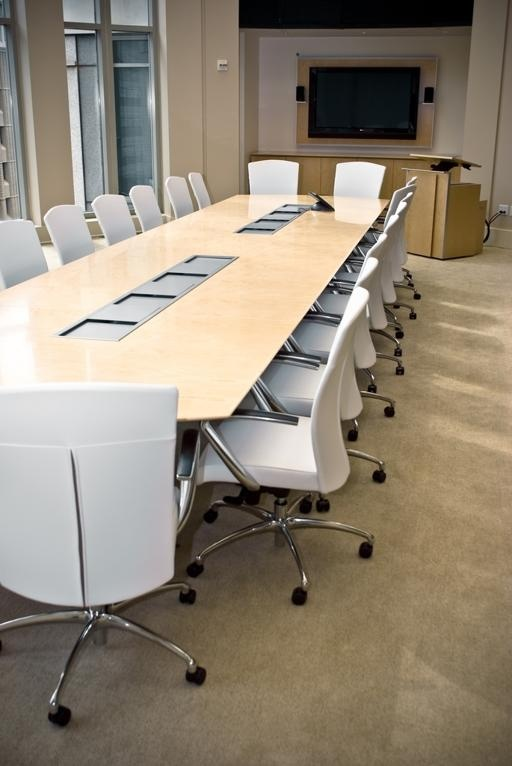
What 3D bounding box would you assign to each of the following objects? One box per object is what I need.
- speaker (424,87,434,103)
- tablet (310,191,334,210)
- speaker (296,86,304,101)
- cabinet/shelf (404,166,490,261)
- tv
[{"bbox_3d":[2.886,-4.787,9.219,0.165,0.255,0.084,2,12,12],"label":"speaker"},{"bbox_3d":[0.592,-1.656,5.118,0.239,0.107,0.195,23,41,32],"label":"tablet"},{"bbox_3d":[0.788,-5.086,9.728,0.147,0.271,0.116,0,12,4],"label":"speaker"},{"bbox_3d":[2.413,-2.247,7.132,0.858,1.102,0.832,-12,29,-15],"label":"cabinet/shelf"},{"bbox_3d":[1.925,-4.846,9.503,1.278,0.841,0.136,4,28,10],"label":"tv"}]
